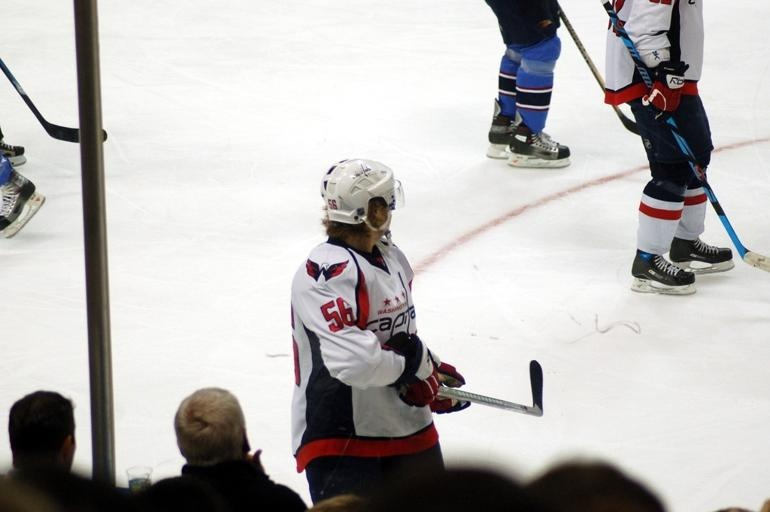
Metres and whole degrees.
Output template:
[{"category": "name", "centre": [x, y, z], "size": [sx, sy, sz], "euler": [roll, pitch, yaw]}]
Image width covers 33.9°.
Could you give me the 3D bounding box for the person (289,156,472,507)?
[{"category": "person", "centre": [-0.110, 0.383, 6.538], "size": [0.768, 1.746, 0.393], "euler": [-2, 8, -6]}]

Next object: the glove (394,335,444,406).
[{"category": "glove", "centre": [0.170, 0.607, 6.535], "size": [0.235, 0.404, 0.135], "euler": [-2, 9, -10]}]

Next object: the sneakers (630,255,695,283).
[{"category": "sneakers", "centre": [1.747, 0.104, 8.019], "size": [0.454, 0.187, 0.149], "euler": [6, 31, 21]}]

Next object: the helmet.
[{"category": "helmet", "centre": [-0.105, -0.316, 6.668], "size": [0.443, 0.377, 0.386], "euler": [-15, 12, -33]}]

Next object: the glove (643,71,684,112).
[{"category": "glove", "centre": [1.753, -1.033, 7.988], "size": [0.246, 0.234, 0.131], "euler": [0, 9, 9]}]

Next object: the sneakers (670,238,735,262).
[{"category": "sneakers", "centre": [2.022, -0.024, 8.225], "size": [0.480, 0.207, 0.141], "euler": [-2, 26, 13]}]
